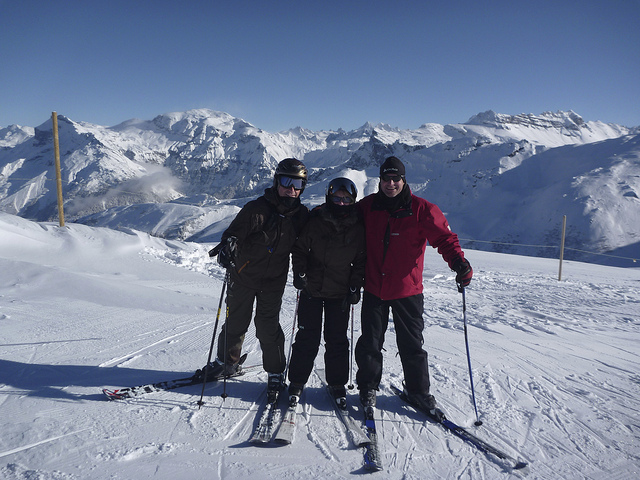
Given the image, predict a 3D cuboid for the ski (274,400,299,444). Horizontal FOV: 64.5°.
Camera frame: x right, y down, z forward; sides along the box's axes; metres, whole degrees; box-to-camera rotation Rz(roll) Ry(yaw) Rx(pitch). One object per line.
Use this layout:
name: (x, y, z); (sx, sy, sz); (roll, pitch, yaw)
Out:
ski: (-0.456, 2.681, 7.657); (0.252, 0.086, 0.829); (4, 31, 9)

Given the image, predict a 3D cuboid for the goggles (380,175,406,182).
goggles: (1.145, -0.957, 7.934); (0.384, 0.117, 0.124); (3, 4, 6)
